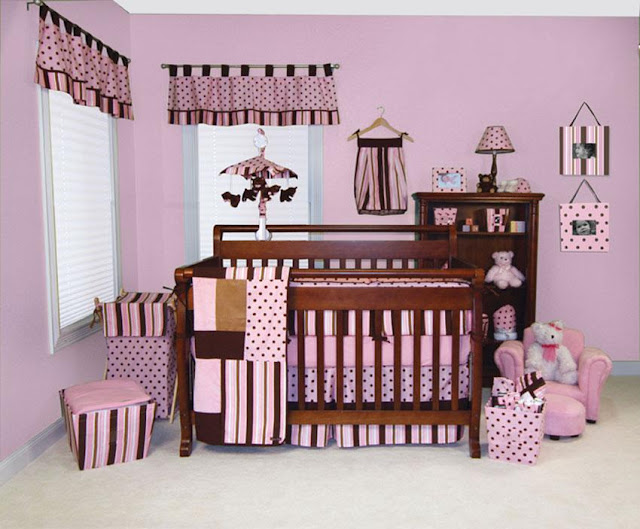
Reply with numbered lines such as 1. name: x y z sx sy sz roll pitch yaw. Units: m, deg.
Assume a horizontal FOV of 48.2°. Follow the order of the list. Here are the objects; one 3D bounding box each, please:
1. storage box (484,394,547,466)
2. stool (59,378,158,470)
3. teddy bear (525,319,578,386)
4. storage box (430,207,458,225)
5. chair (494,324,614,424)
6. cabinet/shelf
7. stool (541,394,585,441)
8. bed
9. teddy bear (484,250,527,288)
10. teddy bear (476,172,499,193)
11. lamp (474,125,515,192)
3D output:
1. storage box: 1.021 0.853 3.754 0.283 0.320 0.305 0 -2 17
2. stool: -1.149 0.856 3.888 0.462 0.355 0.454 -4 11 -37
3. teddy bear: 1.395 0.543 4.287 0.278 0.379 0.284 4 15 25
4. storage box: 0.850 -0.328 4.827 0.117 0.115 0.151 0 2 -9
5. chair: 1.396 0.663 4.183 0.471 0.480 0.602 0 0 14
6. cabinet/shelf: 1.170 0.153 4.893 0.637 1.333 0.324 -2 11 11
7. stool: 1.387 0.873 4.058 0.213 0.212 0.217 2 6 19
8. bed: 0.073 0.348 4.224 1.576 1.238 1.070 0 5 -2
9. teddy bear: 1.251 0.034 4.828 0.228 0.254 0.206 -1 7 -2
10. teddy bear: 1.139 -0.555 4.844 0.159 0.188 0.085 0 -2 4
11. lamp: 1.197 -0.724 4.898 0.237 0.430 0.239 12 26 36
